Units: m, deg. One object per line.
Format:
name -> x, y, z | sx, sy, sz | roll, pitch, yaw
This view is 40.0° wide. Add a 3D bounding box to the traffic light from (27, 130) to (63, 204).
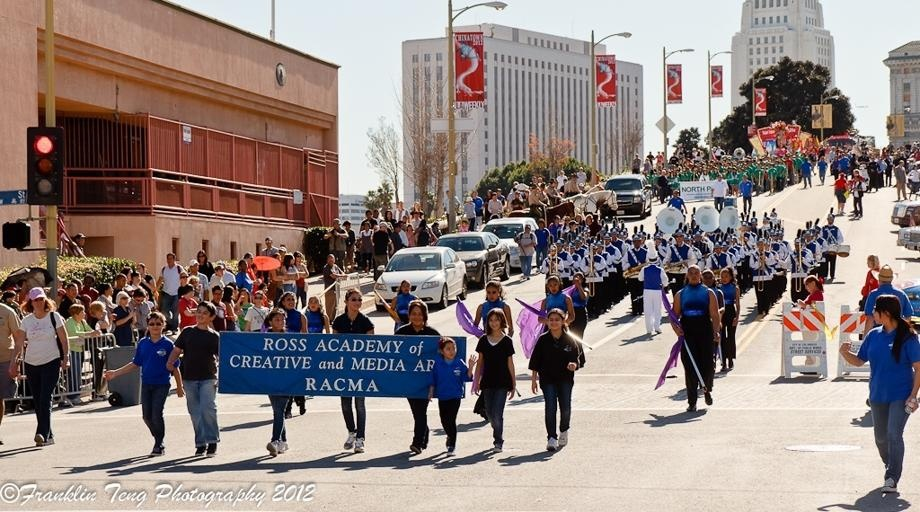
traffic light -> -10.901, -2.337, 33.053 | 0.820, 2.076, 0.681 | 0, -1, -9
